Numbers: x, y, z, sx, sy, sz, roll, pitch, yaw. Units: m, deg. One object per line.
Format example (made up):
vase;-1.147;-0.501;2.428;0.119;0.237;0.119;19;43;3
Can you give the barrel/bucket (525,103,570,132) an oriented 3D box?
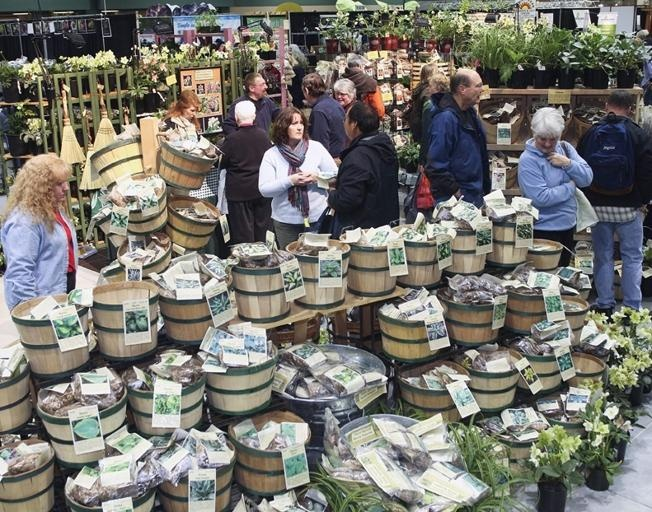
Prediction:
barrel/bucket;1.834;-1.116;4.552;0.236;0.201;0.204;0;12;15

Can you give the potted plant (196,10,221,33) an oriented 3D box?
potted plant;-1.952;-3.884;9.226;0.466;0.321;0.131;-11;14;-30

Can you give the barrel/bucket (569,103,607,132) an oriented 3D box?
barrel/bucket;2.887;-1.536;6.118;0.430;0.260;0.417;-7;24;3

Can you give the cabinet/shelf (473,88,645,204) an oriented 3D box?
cabinet/shelf;2.282;-1.062;5.329;1.382;1.292;0.540;3;10;5
